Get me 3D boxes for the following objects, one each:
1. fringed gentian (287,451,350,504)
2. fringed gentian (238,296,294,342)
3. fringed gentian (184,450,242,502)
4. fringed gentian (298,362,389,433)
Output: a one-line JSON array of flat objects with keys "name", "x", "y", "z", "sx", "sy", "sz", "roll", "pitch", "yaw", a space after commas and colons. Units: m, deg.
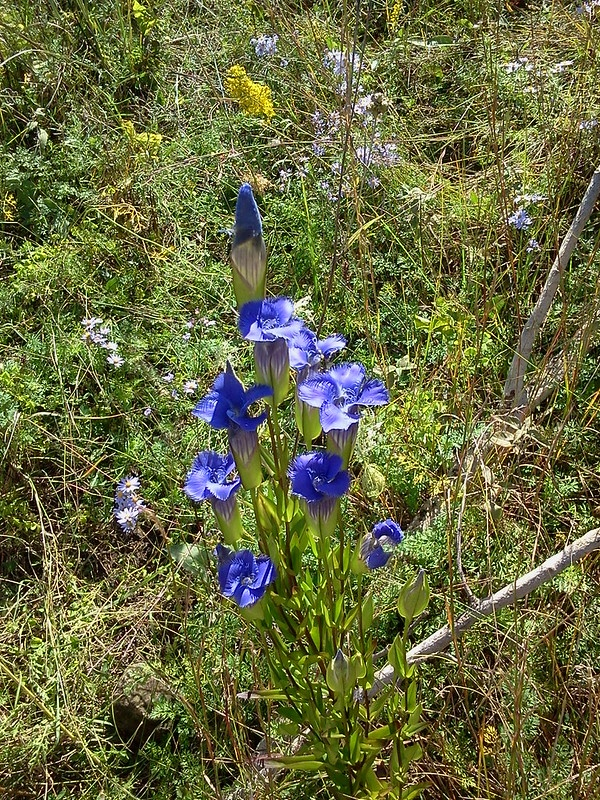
[{"name": "fringed gentian", "x": 0.036, "y": 0.149, "z": 1.434, "sx": 0.113, "sy": 0.104, "sz": 0.100, "roll": 2, "pitch": 50, "yaw": -1}, {"name": "fringed gentian", "x": -0.066, "y": -0.151, "z": 1.460, "sx": 0.110, "sy": 0.074, "sz": 0.113, "roll": -2, "pitch": 51, "yaw": -4}, {"name": "fringed gentian", "x": -0.178, "y": 0.176, "z": 1.534, "sx": 0.113, "sy": 0.100, "sz": 0.119, "roll": -7, "pitch": 51, "yaw": -8}, {"name": "fringed gentian", "x": 0.094, "y": 0.012, "z": 1.457, "sx": 0.154, "sy": 0.102, "sz": 0.156, "roll": -17, "pitch": 53, "yaw": -15}]
